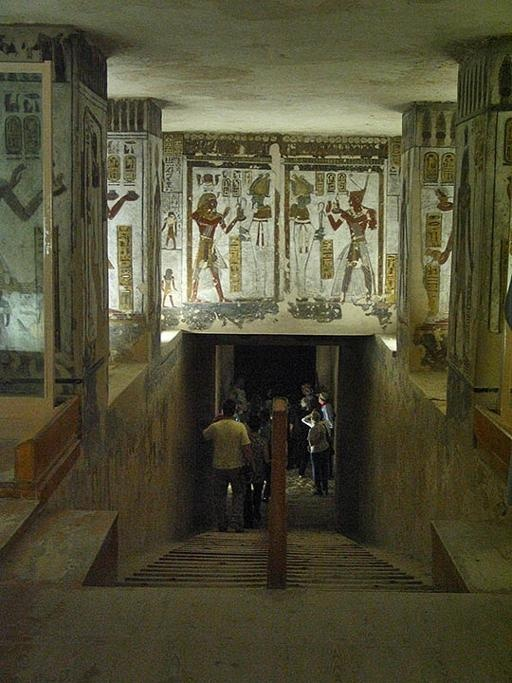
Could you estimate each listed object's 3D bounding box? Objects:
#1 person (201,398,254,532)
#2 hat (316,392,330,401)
[{"bbox_3d":[-0.273,1.215,5.608,0.445,1.313,0.524,2,-2,-3],"label":"person"},{"bbox_3d":[0.990,0.832,8.854,0.213,0.058,0.224,-1,5,-13],"label":"hat"}]
